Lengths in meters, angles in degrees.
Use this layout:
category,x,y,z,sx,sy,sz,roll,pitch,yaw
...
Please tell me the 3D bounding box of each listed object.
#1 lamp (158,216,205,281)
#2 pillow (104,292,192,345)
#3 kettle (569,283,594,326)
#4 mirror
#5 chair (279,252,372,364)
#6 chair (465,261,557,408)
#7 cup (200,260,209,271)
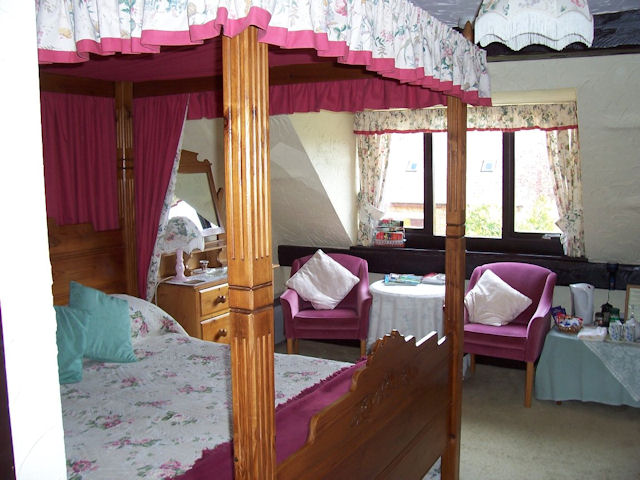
category,x,y,z,sx,sy,sz,roll,pitch,yaw
lamp,-1.356,0.067,5.098,0.474,0.666,0.500,-4,10,-17
pillow,-1.313,0.609,3.901,0.410,0.118,0.396,12,8,26
kettle,2.375,0.596,4.623,0.197,0.332,0.279,4,11,29
mirror,-1.273,-0.383,4.944,0.058,0.764,0.808,-6,20,22
chair,0.077,0.701,5.428,0.837,1.061,0.786,0,1,5
chair,1.713,0.814,4.773,0.907,1.112,1.051,1,4,12
cup,-1.220,0.278,5.313,0.084,0.112,0.091,-1,10,0
